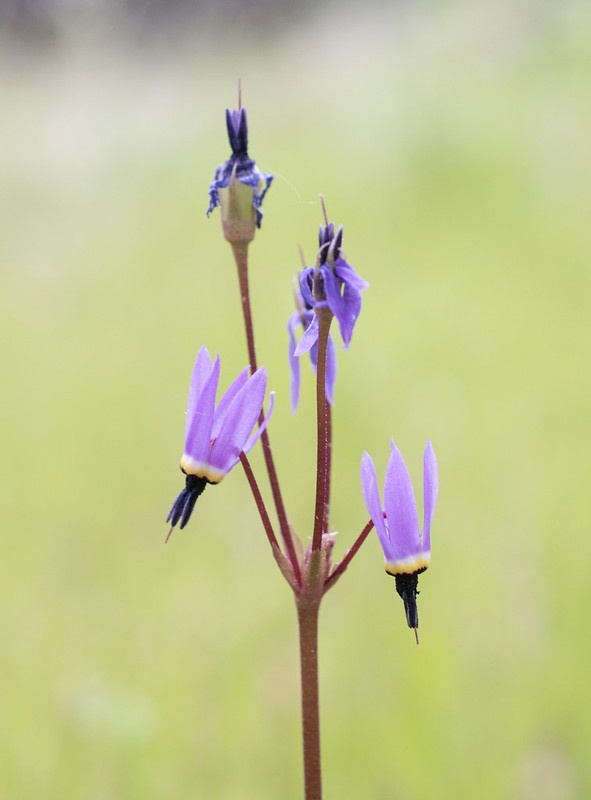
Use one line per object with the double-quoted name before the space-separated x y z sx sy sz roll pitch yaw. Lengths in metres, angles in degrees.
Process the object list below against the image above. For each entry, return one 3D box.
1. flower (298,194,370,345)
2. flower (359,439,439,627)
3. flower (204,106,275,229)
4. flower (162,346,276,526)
"flower" 0.033 -0.115 1.040 0.056 0.152 0.056 -5 5 -18
"flower" 0.101 0.117 1.040 0.067 0.150 0.111 -14 -37 21
"flower" -0.049 -0.238 1.122 0.054 0.055 0.118 -15 -57 -28
"flower" -0.080 0.043 1.081 0.085 0.165 0.081 8 -16 43
